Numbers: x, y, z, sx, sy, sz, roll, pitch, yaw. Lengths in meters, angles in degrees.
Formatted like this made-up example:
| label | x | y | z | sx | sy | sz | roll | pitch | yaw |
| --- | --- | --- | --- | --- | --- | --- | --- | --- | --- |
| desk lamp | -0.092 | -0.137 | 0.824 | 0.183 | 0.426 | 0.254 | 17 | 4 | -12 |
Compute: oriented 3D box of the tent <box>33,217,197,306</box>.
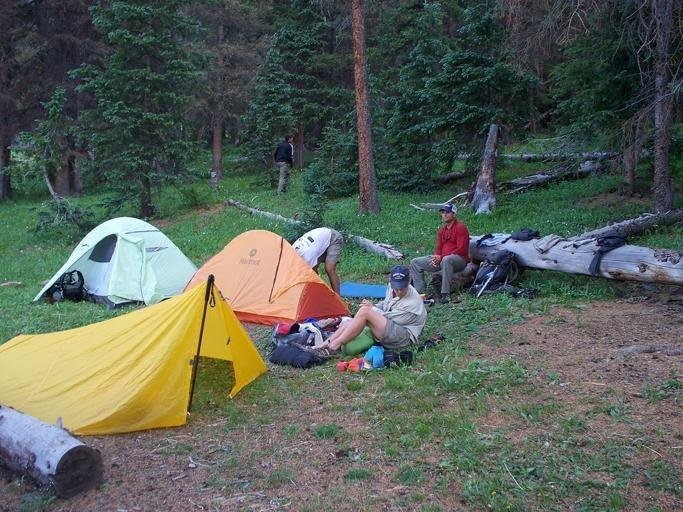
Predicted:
| label | x | y | z | sx | sy | sz | roll | pitch | yaw |
| --- | --- | --- | --- | --- | --- | --- | --- | --- | --- |
| tent | -4.760 | 0.139 | 15.929 | 2.063 | 1.447 | 2.545 | 4 | 7 | 30 |

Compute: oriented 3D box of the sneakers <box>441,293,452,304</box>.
| label | x | y | z | sx | sy | sz | roll | pitch | yaw |
| --- | --- | --- | --- | --- | --- | --- | --- | --- | --- |
| sneakers | 2.087 | 0.892 | 14.372 | 0.153 | 0.242 | 0.318 | -4 | -12 | 13 |

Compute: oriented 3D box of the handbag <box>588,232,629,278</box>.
| label | x | y | z | sx | sy | sz | roll | pitch | yaw |
| --- | --- | --- | --- | --- | --- | --- | --- | --- | --- |
| handbag | 5.019 | -0.083 | 13.790 | 1.088 | 0.373 | 0.706 | -31 | 21 | -36 |

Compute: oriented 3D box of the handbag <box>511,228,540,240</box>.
| label | x | y | z | sx | sy | sz | roll | pitch | yaw |
| --- | --- | --- | --- | --- | --- | --- | --- | --- | --- |
| handbag | 3.785 | -0.418 | 14.917 | 0.571 | 0.228 | 0.329 | 6 | 11 | 17 |

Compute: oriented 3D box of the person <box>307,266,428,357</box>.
| label | x | y | z | sx | sy | sz | roll | pitch | yaw |
| --- | --- | --- | --- | --- | --- | --- | --- | --- | --- |
| person | 0.478 | 0.961 | 12.653 | 2.186 | 1.598 | 0.964 | -10 | 20 | -28 |

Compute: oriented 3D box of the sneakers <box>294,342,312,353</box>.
| label | x | y | z | sx | sy | sz | roll | pitch | yaw |
| --- | --- | --- | --- | --- | --- | --- | --- | --- | --- |
| sneakers | -0.679 | 1.620 | 12.692 | 0.196 | 0.068 | 0.152 | 19 | 1 | 1 |

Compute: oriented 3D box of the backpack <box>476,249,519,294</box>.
| label | x | y | z | sx | sy | sz | roll | pitch | yaw |
| --- | --- | --- | --- | --- | --- | --- | --- | --- | --- |
| backpack | 3.083 | 0.366 | 14.508 | 0.361 | 0.961 | 0.672 | 38 | -11 | -26 |

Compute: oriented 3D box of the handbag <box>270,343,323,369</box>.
| label | x | y | z | sx | sy | sz | roll | pitch | yaw |
| --- | --- | --- | --- | --- | --- | --- | --- | --- | --- |
| handbag | -0.783 | 1.764 | 12.582 | 0.953 | 0.300 | 0.390 | 8 | 12 | 27 |

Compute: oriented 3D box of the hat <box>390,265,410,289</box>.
| label | x | y | z | sx | sy | sz | roll | pitch | yaw |
| --- | --- | --- | --- | --- | --- | --- | --- | --- | --- |
| hat | 1.008 | 0.392 | 12.531 | 0.255 | 0.230 | 0.419 | 4 | 23 | 8 |

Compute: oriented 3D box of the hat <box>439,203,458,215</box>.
| label | x | y | z | sx | sy | sz | roll | pitch | yaw |
| --- | --- | --- | --- | --- | --- | --- | --- | --- | --- |
| hat | 2.199 | -0.984 | 14.794 | 0.340 | 0.184 | 0.206 | 8 | -5 | -43 |
